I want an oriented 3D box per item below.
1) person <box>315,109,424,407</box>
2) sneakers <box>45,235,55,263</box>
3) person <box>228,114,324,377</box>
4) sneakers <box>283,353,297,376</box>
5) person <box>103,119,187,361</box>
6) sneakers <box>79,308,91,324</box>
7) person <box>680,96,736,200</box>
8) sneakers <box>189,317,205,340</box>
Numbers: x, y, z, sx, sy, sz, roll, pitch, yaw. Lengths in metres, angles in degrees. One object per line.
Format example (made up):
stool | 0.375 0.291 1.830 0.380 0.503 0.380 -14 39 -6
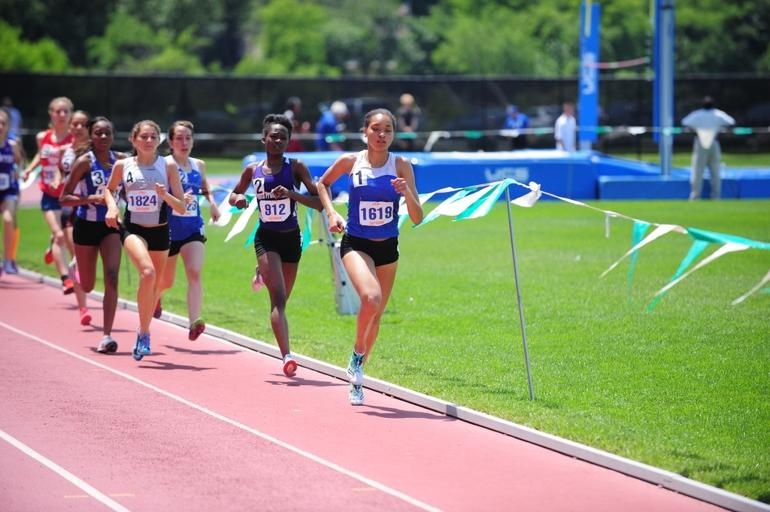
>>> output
person | -0.119 -0.012 10.220 1.059 3.116 1.015 -1 14 -3
sneakers | -5.498 -0.109 15.358 0.200 0.468 0.167 13 27 9
person | -1.197 -0.109 10.830 0.868 2.954 1.247 -6 15 -22
sneakers | -1.076 1.242 10.573 0.139 0.268 0.135 -3 29 -13
person | -2.856 -0.193 11.218 0.905 2.790 0.864 -11 17 -36
sneakers | -3.998 0.803 12.479 0.111 0.279 0.120 -7 59 -25
person | 5.227 -1.619 15.334 0.747 1.472 1.925 4 15 17
sneakers | -2.304 0.876 11.431 0.172 0.300 0.110 28 26 -20
